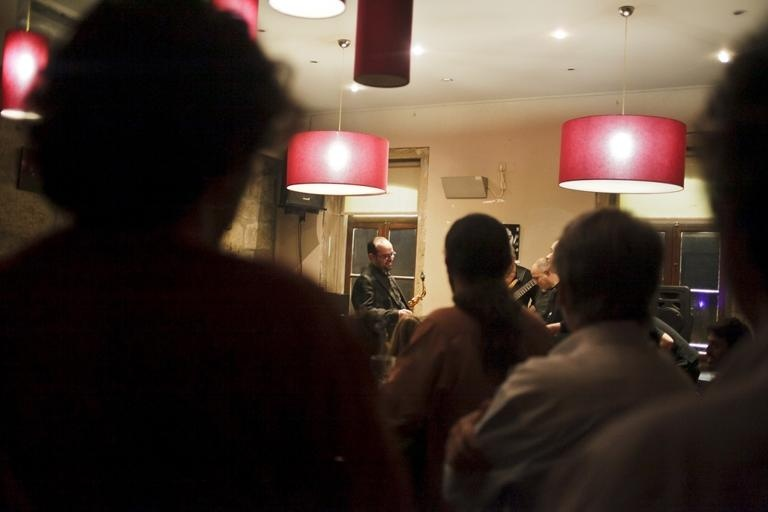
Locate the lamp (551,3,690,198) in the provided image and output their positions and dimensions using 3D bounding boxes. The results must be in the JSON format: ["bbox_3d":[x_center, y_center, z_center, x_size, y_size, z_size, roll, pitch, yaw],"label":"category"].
[{"bbox_3d":[0.653,-0.480,2.033,0.448,0.632,0.428,5,1,-1],"label":"lamp"}]
